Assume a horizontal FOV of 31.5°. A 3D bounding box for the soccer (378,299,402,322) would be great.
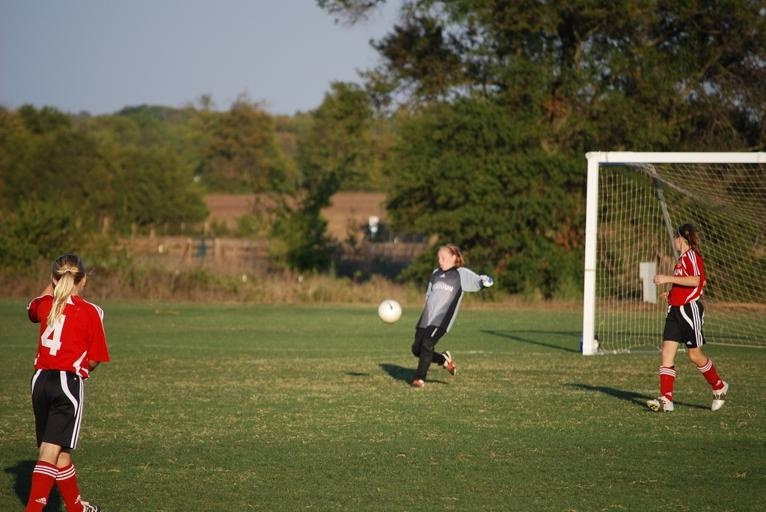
[{"bbox_3d":[0.129,1.569,37.127,0.591,0.635,0.587,11,23,36],"label":"soccer"}]
